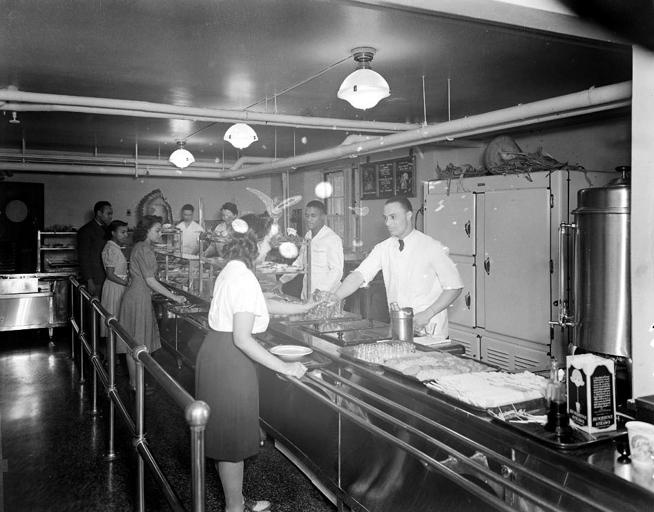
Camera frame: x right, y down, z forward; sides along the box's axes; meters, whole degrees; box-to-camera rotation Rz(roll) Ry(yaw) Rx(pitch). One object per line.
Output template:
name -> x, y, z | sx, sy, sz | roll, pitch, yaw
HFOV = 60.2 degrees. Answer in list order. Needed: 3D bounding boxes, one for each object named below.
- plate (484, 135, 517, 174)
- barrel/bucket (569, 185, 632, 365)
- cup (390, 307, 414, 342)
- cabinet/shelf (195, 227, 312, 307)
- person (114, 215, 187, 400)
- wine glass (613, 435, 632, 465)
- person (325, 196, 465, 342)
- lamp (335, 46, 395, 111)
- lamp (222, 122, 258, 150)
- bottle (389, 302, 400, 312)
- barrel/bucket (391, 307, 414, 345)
plate -> 1.798, -1.041, 5.792 | 0.376, 0.375, 0.556 | 2, 13, 17
barrel/bucket -> 1.401, 0.071, 2.853 | 0.326, 0.849, 0.226 | 7, 15, 35
cup -> 0.462, 0.419, 3.465 | 0.149, 0.229, 0.153 | -3, 16, 1
cabinet/shelf -> -0.585, 0.092, 4.498 | 0.562, 0.885, 0.592 | -14, 27, -34
person -> -1.702, 0.319, 5.321 | 0.636, 1.362, 0.452 | -11, 15, -37
wine glass -> 1.168, 0.773, 2.214 | 0.073, 0.113, 0.073 | 5, -11, -30
person -> 0.531, 0.017, 4.017 | 0.853, 0.857, 0.488 | 7, 15, 34
lamp -> 0.266, -1.239, 3.956 | 0.408, 0.423, 0.416 | -5, 17, -19
lamp -> -0.814, -1.099, 5.261 | 0.360, 0.319, 0.365 | -1, 1, 2
bottle -> 0.428, 0.321, 3.534 | 0.048, 0.084, 0.082 | 3, -10, -12
barrel/bucket -> 0.464, 0.427, 3.460 | 0.151, 0.222, 0.143 | -2, 14, 0
